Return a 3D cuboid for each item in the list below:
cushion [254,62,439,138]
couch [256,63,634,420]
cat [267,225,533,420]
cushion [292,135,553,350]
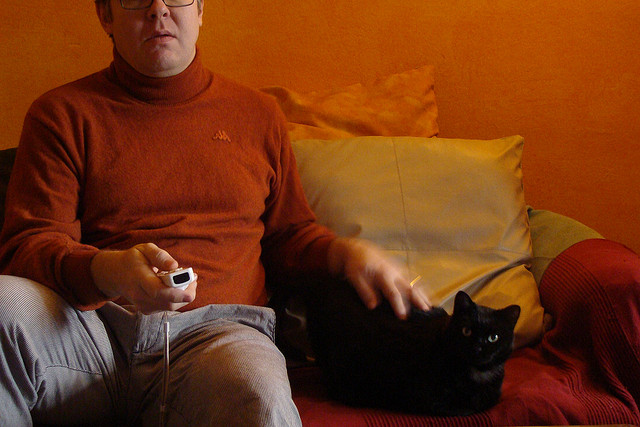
[{"bbox_3d":[0.162,-0.382,2.076,0.380,0.121,0.369,1,40,6],"label":"cushion"},{"bbox_3d":[0.429,0.124,1.912,0.988,0.443,1.028,-3,67,-4],"label":"couch"},{"bbox_3d":[0.101,0.294,1.682,0.884,0.478,0.320,3,-1,33],"label":"cat"},{"bbox_3d":[0.360,0.004,1.599,0.617,0.195,0.669,2,71,-7],"label":"cushion"}]
